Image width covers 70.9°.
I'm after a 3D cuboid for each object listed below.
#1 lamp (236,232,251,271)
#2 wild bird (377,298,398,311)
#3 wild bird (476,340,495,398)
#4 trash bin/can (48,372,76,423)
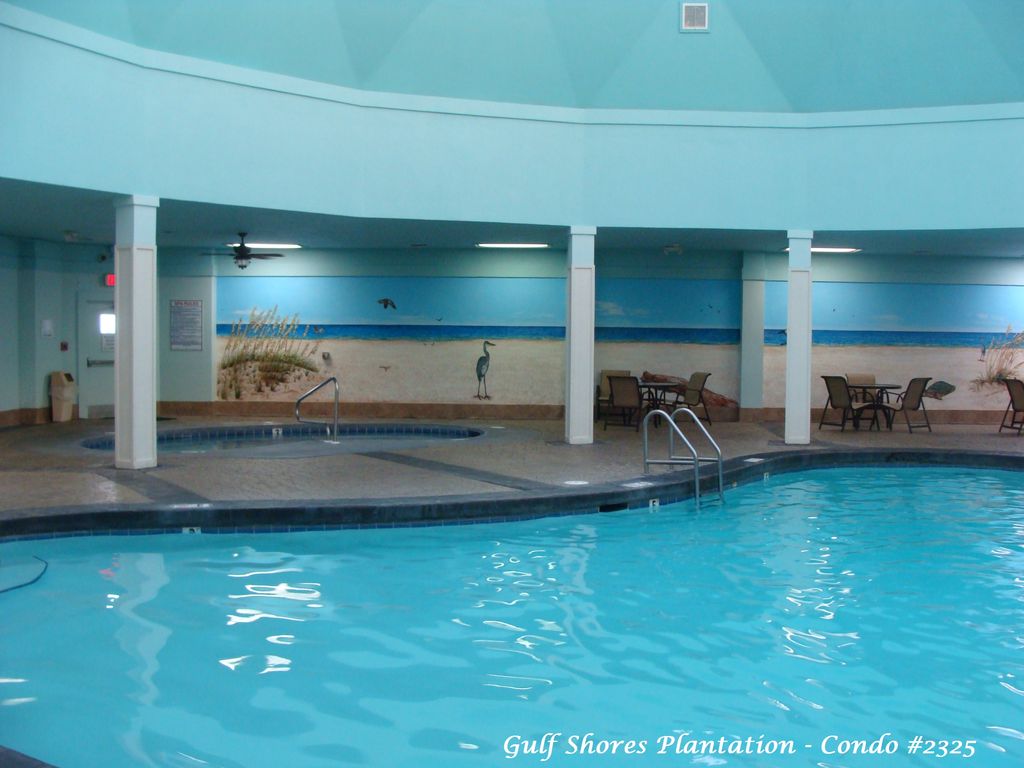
[{"bbox_3d":[-4.886,-2.377,12.951,0.249,0.537,1.711,-2,3,-20],"label":"lamp"},{"bbox_3d":[-2.553,-1.630,14.668,0.385,0.237,0.129,6,19,13],"label":"wild bird"},{"bbox_3d":[-0.562,-0.277,14.705,0.399,1.190,0.119,-2,2,-3],"label":"wild bird"},{"bbox_3d":[-8.444,0.218,13.468,0.479,0.922,0.374,-3,2,-44],"label":"trash bin/can"}]
